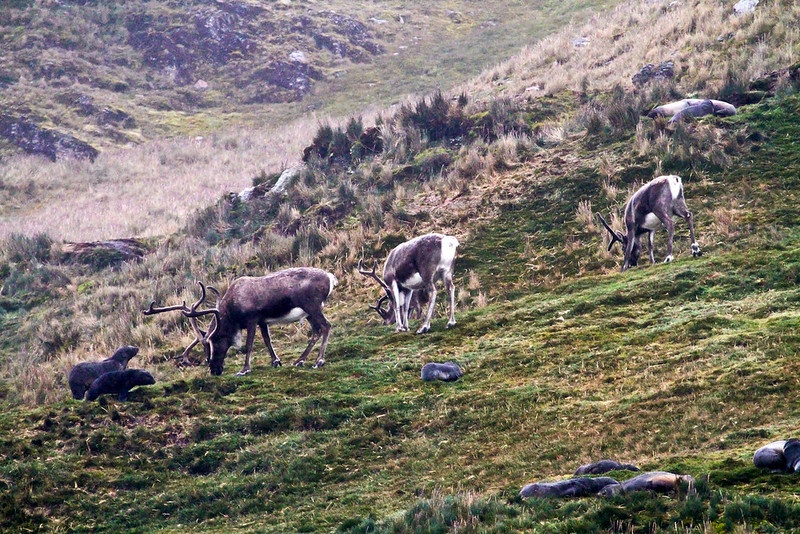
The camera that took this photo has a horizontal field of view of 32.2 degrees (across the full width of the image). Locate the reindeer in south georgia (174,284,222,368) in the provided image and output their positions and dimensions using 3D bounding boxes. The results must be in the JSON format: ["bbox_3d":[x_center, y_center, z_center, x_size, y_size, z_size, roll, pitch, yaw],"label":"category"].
[{"bbox_3d":[-8.946,2.725,61.276,1.577,2.311,2.650,4,-46,-9],"label":"reindeer in south georgia"}]
